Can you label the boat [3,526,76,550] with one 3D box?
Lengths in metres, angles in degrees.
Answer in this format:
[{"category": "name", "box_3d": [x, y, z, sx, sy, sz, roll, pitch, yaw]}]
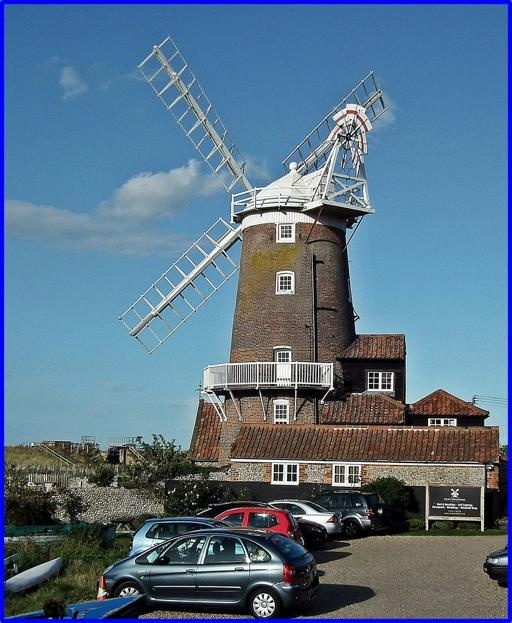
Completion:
[{"category": "boat", "box_3d": [-7.374, 7.329, 25.182, 3.143, 0.389, 0.758, -10, -28, 27]}]
